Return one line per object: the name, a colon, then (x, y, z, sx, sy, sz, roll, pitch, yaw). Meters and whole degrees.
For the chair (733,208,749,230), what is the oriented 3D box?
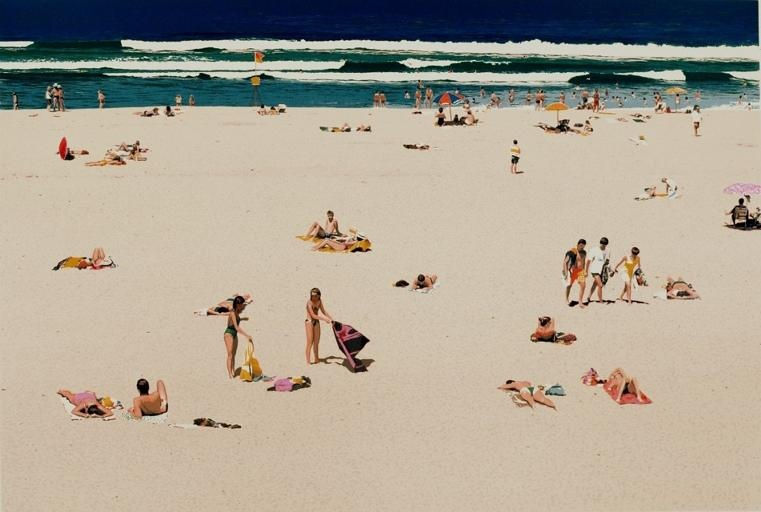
chair: (14.780, -1.569, 47.737, 0.621, 0.889, 0.852, 5, 80, 13)
